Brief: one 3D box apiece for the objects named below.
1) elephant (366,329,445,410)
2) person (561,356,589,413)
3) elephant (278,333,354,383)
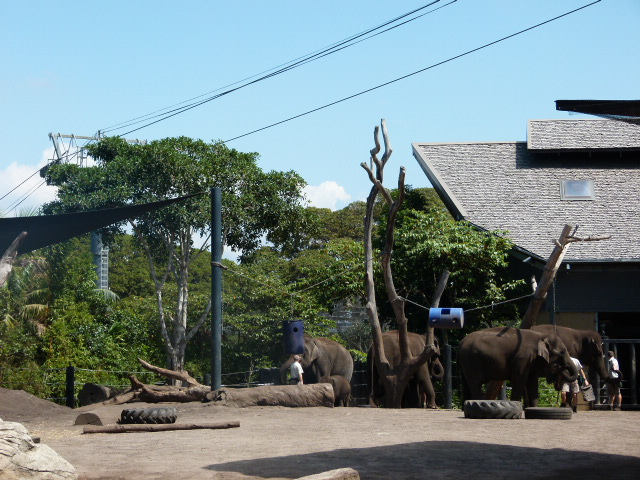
[{"bbox_3d":[2.547,3.782,41.499,2.149,2.457,1.586,2,-15,5],"label":"elephant"},{"bbox_3d":[6.779,3.927,37.862,0.610,1.635,0.560,-6,-7,29],"label":"person"},{"bbox_3d":[-0.004,3.650,43.251,2.320,1.686,1.108,8,-15,-29],"label":"elephant"}]
